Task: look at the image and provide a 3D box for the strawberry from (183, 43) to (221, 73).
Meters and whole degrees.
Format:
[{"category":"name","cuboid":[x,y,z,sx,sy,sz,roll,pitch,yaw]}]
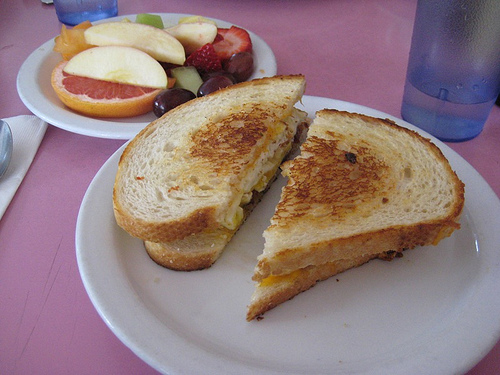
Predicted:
[{"category":"strawberry","cuboid":[-0.242,-0.694,2.567,0.192,0.052,0.160,-8,94,8]}]
